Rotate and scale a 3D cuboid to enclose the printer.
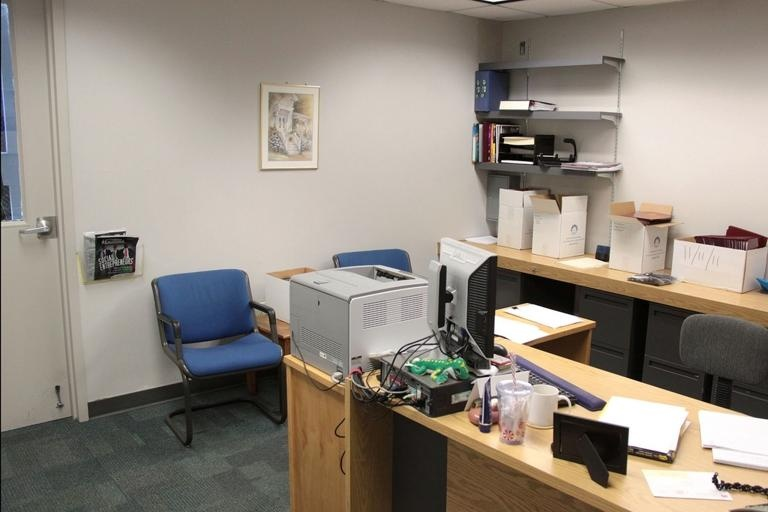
[{"bbox_3d":[-0.125,0.289,2.989,0.591,0.423,0.578,-9,13,-37],"label":"printer"}]

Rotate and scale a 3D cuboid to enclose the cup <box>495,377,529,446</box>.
[{"bbox_3d":[0.560,0.655,2.380,0.146,0.225,0.216,4,15,24],"label":"cup"}]

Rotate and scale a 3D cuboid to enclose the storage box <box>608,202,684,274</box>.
[{"bbox_3d":[2.084,-0.175,4.611,0.613,0.624,0.528,6,10,39],"label":"storage box"}]

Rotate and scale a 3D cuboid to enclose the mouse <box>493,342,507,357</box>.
[{"bbox_3d":[0.586,0.464,2.811,0.069,0.033,0.098,0,4,-1],"label":"mouse"}]

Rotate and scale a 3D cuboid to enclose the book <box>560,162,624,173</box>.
[{"bbox_3d":[1.864,-0.792,4.910,0.487,0.092,0.279,-5,14,-15],"label":"book"}]

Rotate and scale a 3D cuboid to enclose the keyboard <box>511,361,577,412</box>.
[{"bbox_3d":[0.787,0.624,2.724,0.138,0.166,0.242,-10,23,-34],"label":"keyboard"}]

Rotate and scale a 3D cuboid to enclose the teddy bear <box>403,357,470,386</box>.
[{"bbox_3d":[0.255,0.531,2.588,0.151,0.054,0.152,2,6,28],"label":"teddy bear"}]

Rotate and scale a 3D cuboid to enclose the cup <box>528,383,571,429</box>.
[{"bbox_3d":[0.702,0.662,2.426,0.221,0.155,0.134,2,2,-1],"label":"cup"}]

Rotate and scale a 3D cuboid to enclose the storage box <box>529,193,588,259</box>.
[{"bbox_3d":[1.587,-0.268,5.219,0.670,0.704,0.524,-5,7,-36],"label":"storage box"}]

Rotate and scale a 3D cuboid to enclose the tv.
[{"bbox_3d":[0.374,0.274,2.660,0.284,0.564,0.558,-6,15,-21],"label":"tv"}]
